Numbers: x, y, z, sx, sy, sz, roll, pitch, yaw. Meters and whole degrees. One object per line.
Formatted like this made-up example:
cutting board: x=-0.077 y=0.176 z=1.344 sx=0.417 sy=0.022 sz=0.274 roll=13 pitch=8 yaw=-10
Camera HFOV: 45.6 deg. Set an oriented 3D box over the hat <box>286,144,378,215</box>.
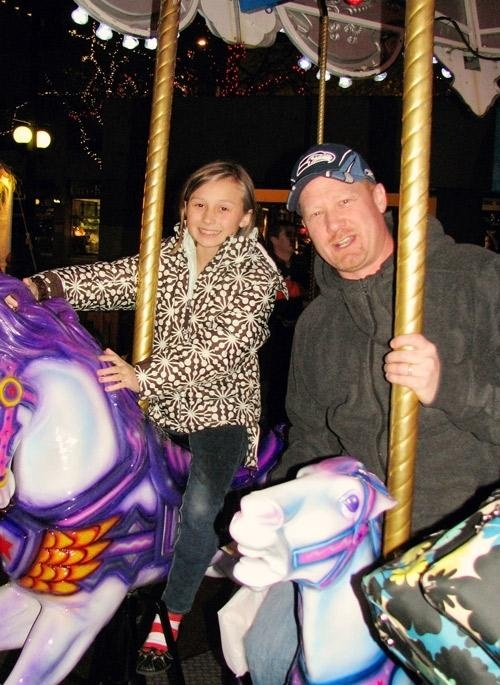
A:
hat: x=0.193 y=-0.391 z=1.439 sx=0.130 sy=0.090 sz=0.181 roll=-12 pitch=-12 yaw=36
